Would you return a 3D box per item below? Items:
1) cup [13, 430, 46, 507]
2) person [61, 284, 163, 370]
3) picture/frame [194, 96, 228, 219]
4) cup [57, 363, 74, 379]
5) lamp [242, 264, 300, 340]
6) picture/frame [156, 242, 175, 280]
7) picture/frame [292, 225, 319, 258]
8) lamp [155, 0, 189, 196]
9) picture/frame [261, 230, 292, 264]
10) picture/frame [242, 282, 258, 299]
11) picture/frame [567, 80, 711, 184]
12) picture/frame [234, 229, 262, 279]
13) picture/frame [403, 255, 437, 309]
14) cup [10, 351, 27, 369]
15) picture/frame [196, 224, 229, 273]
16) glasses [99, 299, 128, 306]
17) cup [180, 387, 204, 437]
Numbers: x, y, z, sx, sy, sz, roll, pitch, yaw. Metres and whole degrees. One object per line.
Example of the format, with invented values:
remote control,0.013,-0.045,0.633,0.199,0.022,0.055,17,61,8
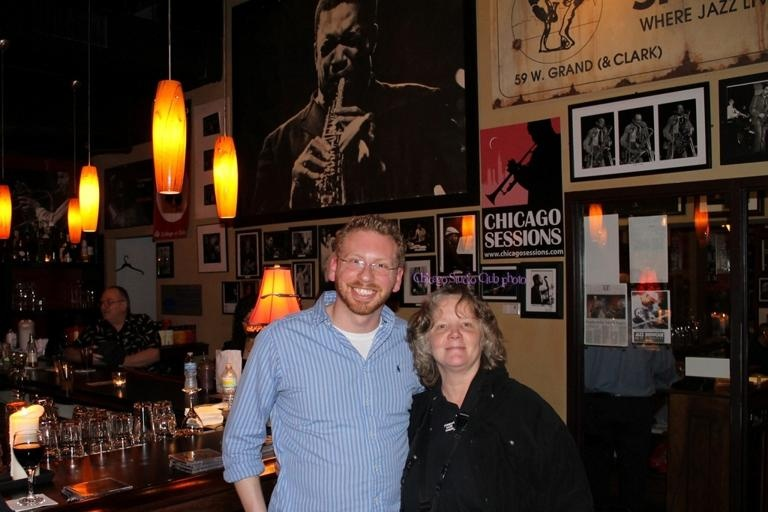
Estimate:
cup,-2.118,1.266,3.890,0.166,0.394,0.330,3,-9,-30
person,-3.105,0.818,7.591,1.004,0.989,0.667,-4,-1,-3
picture/frame,-2.139,-1.202,8.105,0.529,1.463,0.096,0,0,38
cup,-2.969,1.065,6.089,0.174,0.195,0.165,-1,-10,0
lamp,-0.907,0.385,5.394,0.500,0.676,0.562,-1,-5,-5
picture/frame,-2.903,0.063,8.697,0.054,0.583,0.435,-3,3,-42
picture/frame,-0.890,-0.149,7.157,0.321,0.351,0.035,-2,-4,19
lamp,-1.560,-0.890,4.754,0.223,0.827,0.231,1,-7,-22
picture/frame,-1.196,-0.111,7.374,0.341,0.336,0.052,0,3,36
picture/frame,-1.536,0.388,7.496,0.158,0.180,0.022,-2,0,40
picture/frame,2.108,-1.010,5.272,0.791,0.542,0.030,-5,-6,29
picture/frame,-1.593,-0.014,7.672,0.382,0.604,0.039,-1,0,25
picture/frame,0.337,0.232,6.323,0.325,0.518,0.035,-2,30,1
cup,-3.753,1.062,6.709,0.125,0.245,0.174,0,-7,-4
picture/frame,-2.109,-0.096,8.063,0.466,0.631,0.020,-2,-2,13
glasses,-3.068,0.529,7.444,0.279,0.062,0.149,3,-10,-30
cup,-1.410,1.140,4.782,0.158,0.379,0.152,-3,-3,0
